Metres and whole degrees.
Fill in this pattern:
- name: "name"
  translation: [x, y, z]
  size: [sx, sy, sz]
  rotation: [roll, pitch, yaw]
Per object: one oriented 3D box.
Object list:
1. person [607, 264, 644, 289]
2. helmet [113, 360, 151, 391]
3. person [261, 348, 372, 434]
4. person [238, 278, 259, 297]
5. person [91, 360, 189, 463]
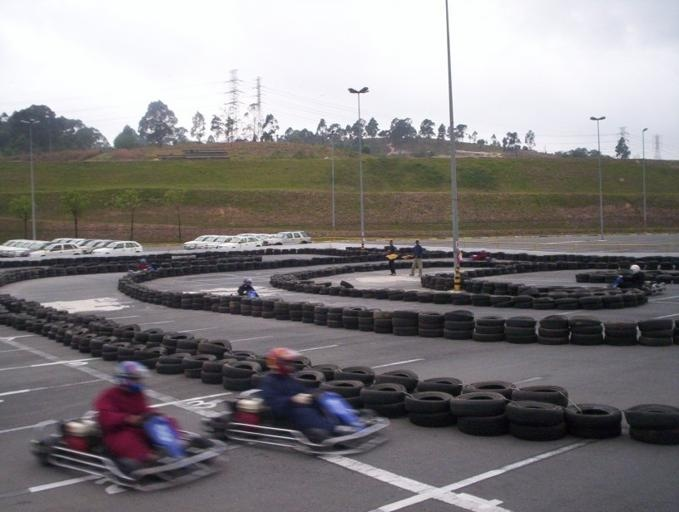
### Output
- name: "person"
  translation: [9.919, 0.723, 28.542]
  size: [1.173, 0.518, 1.134]
  rotation: [-3, 0, 31]
- name: "helmet"
  translation: [-3.418, 1.976, 14.035]
  size: [0.644, 0.431, 0.474]
  rotation: [2, 7, -36]
- name: "person"
  translation: [-0.457, 2.437, 14.646]
  size: [2.211, 0.972, 1.203]
  rotation: [21, 16, 21]
- name: "person"
  translation: [-3.284, 1.132, 30.279]
  size: [0.765, 0.784, 0.376]
  rotation: [3, 16, 15]
- name: "person"
  translation: [-3.454, 2.569, 13.693]
  size: [0.910, 1.518, 0.979]
  rotation: [-11, 17, -27]
